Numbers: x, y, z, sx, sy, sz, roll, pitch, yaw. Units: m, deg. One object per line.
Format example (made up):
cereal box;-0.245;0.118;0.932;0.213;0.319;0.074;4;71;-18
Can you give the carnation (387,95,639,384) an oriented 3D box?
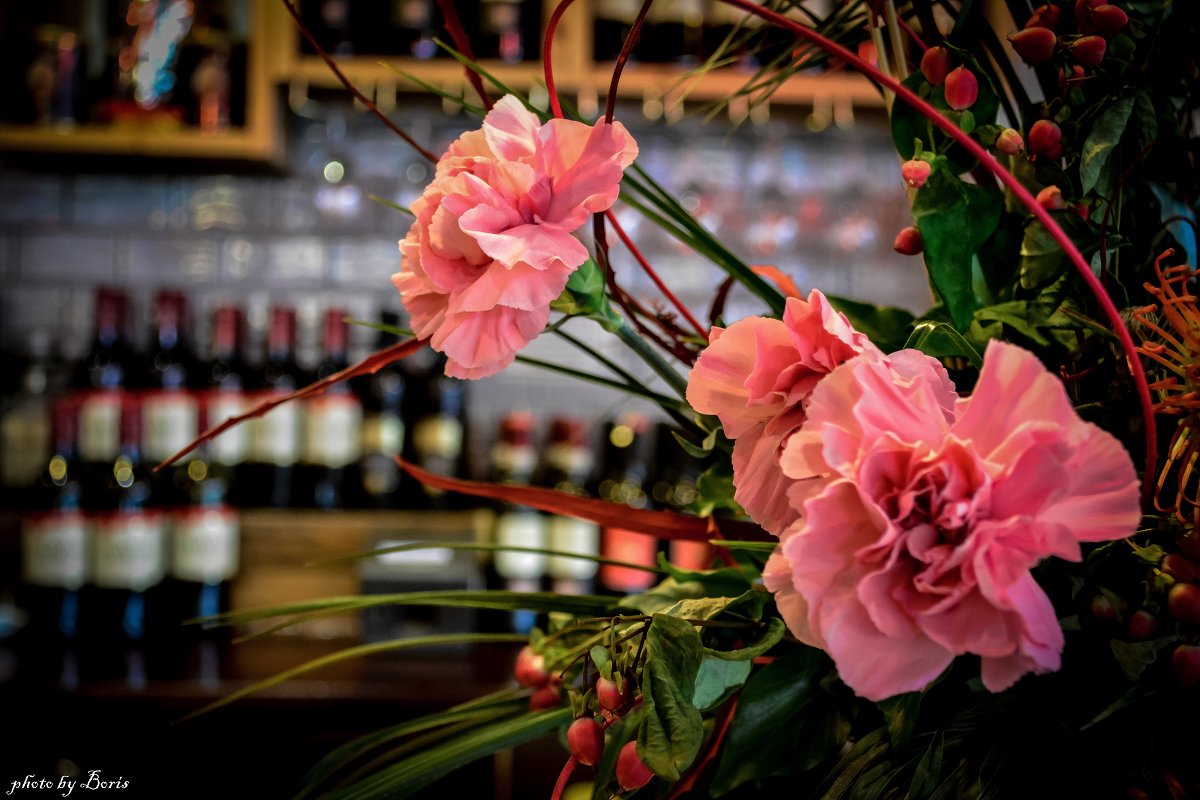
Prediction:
carnation;-0.048;-0.151;1.270;0.227;0.241;0.112;-26;-52;31

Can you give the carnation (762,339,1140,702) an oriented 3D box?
carnation;0.306;0.094;1.213;0.296;0.326;0.135;-11;-64;51

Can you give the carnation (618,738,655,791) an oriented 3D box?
carnation;0.029;0.331;1.228;0.036;0.033;0.044;10;-36;14
